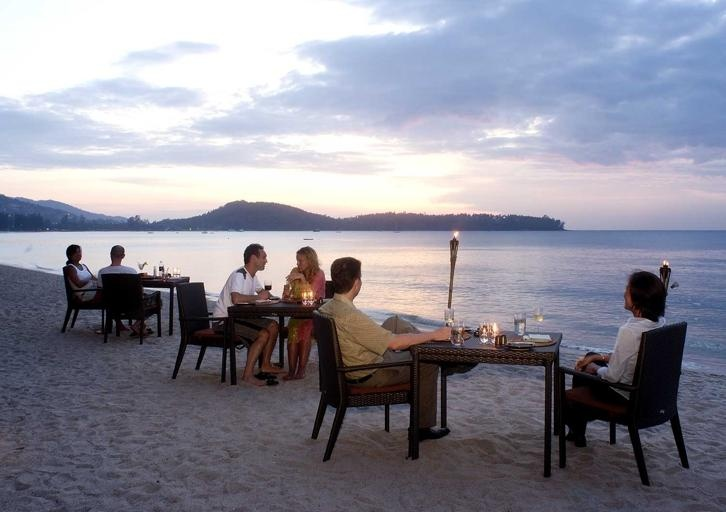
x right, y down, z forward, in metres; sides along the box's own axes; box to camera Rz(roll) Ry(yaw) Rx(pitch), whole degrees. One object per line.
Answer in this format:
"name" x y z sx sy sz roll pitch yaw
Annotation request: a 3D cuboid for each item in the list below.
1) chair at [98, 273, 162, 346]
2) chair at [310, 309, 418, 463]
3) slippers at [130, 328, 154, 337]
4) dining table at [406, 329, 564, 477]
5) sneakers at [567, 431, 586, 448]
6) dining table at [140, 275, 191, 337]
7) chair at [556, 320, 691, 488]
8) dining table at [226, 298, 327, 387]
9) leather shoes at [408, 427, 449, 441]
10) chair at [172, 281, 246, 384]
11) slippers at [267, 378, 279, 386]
"chair" -4.224 0.935 10.117 0.897 1.160 0.898 0 -1 -4
"chair" 0.170 1.284 6.159 1.424 1.699 1.377 -1 -2 -11
"slippers" -4.235 1.492 10.892 0.605 0.212 0.207 0 -1 2
"dining table" 1.150 1.457 5.478 1.466 0.937 1.303 -1 -4 22
"sneakers" 2.217 1.891 5.737 0.105 0.181 0.200 -1 -24 0
"dining table" -3.729 0.961 10.399 0.985 1.079 1.227 1 2 4
"chair" 2.510 1.341 5.331 0.927 1.253 0.926 0 -2 -40
"dining table" -1.478 1.159 7.764 1.573 0.884 1.485 -3 -4 -26
"leather shoes" 0.749 1.886 5.904 0.324 0.102 0.284 2 -6 -4
"chair" -2.073 1.022 7.964 1.067 1.192 0.989 2 0 15
"slippers" -1.234 1.712 7.603 0.123 0.046 0.089 1 -1 -1
